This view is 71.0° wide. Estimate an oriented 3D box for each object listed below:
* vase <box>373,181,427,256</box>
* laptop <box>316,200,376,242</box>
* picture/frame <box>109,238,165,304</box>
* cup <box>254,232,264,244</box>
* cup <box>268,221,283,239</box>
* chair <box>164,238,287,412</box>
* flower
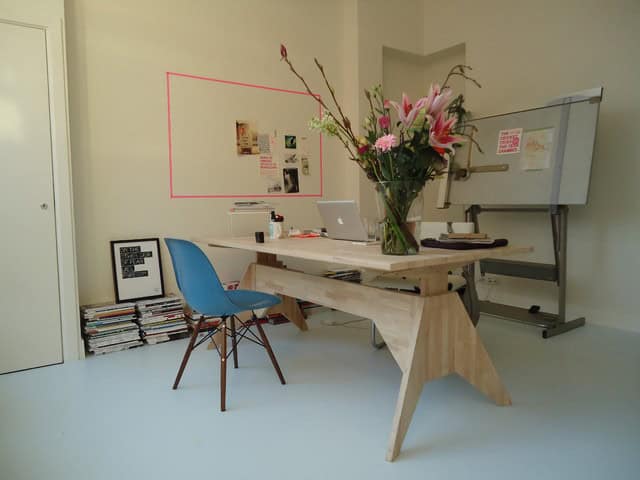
[{"bbox_3d":[0.443,-0.115,2.529,0.246,0.414,0.261,-3,-3,28],"label":"vase"},{"bbox_3d":[0.210,-0.149,3.011,0.341,0.281,0.369,-16,15,-39],"label":"laptop"},{"bbox_3d":[-1.592,0.272,3.844,0.464,0.656,0.040,-5,-5,-38],"label":"picture/frame"},{"bbox_3d":[-0.434,-0.018,3.181,0.063,0.080,0.070,3,7,17],"label":"cup"},{"bbox_3d":[-0.342,-0.078,3.391,0.108,0.129,0.113,1,0,0],"label":"cup"},{"bbox_3d":[-0.637,0.511,3.008,0.712,1.088,0.629,-5,5,-40],"label":"chair"},{"bbox_3d":[0.438,-0.484,2.587,0.916,1.011,0.768,5,19,33],"label":"flower"}]
